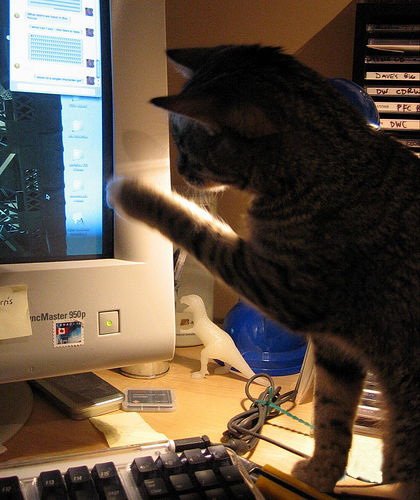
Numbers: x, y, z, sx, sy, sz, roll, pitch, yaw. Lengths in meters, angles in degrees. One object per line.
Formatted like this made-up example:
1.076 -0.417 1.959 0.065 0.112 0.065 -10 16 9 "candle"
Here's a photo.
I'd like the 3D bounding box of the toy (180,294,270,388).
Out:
0.019 0.158 0.783 0.199 0.126 0.074 19 21 41 "toy"
